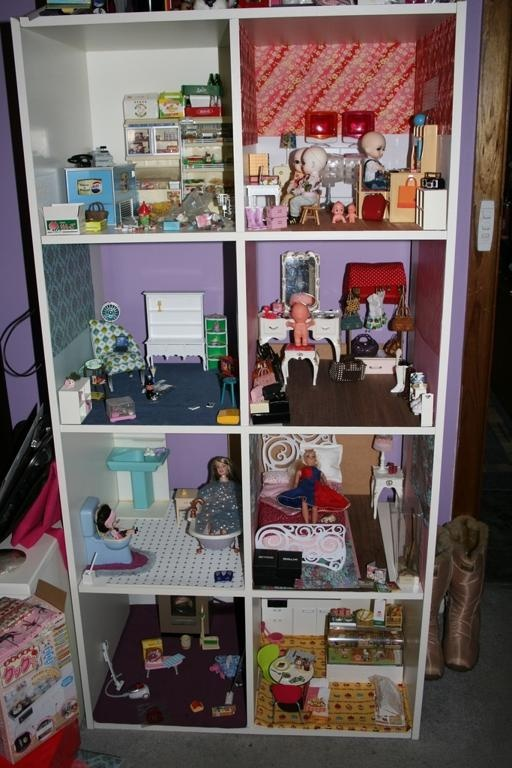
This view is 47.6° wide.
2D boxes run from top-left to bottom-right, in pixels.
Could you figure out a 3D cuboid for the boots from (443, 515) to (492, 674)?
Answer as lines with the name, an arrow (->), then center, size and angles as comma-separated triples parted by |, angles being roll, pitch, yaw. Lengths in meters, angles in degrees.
boots -> 0.926, 0.910, 2.583 | 0.200, 0.446, 0.640 | 0, 53, 18
